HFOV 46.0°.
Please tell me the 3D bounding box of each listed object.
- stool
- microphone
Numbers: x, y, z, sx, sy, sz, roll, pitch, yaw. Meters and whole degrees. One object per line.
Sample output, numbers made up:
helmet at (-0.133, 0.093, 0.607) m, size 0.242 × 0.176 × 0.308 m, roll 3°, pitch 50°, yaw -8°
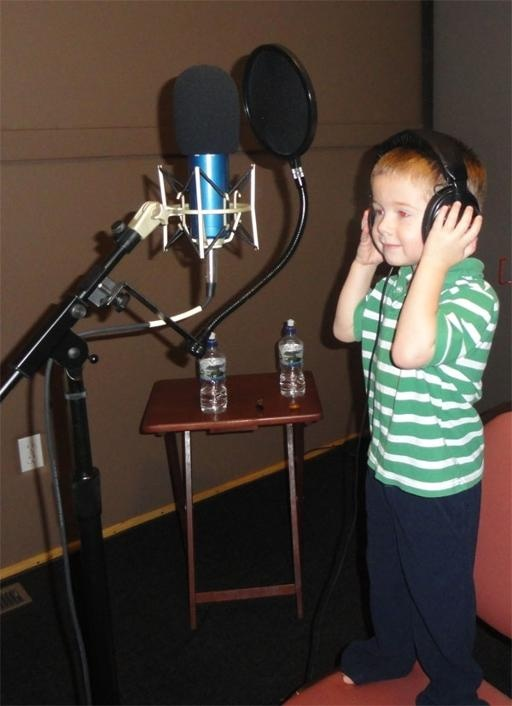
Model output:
stool at (-0.047, 0.427, 1.928) m, size 0.519 × 0.646 × 0.573 m, roll -5°, pitch 11°, yaw -4°
microphone at (-0.074, -0.290, 1.021) m, size 0.108 × 0.367 × 0.232 m, roll -5°, pitch 11°, yaw -5°
